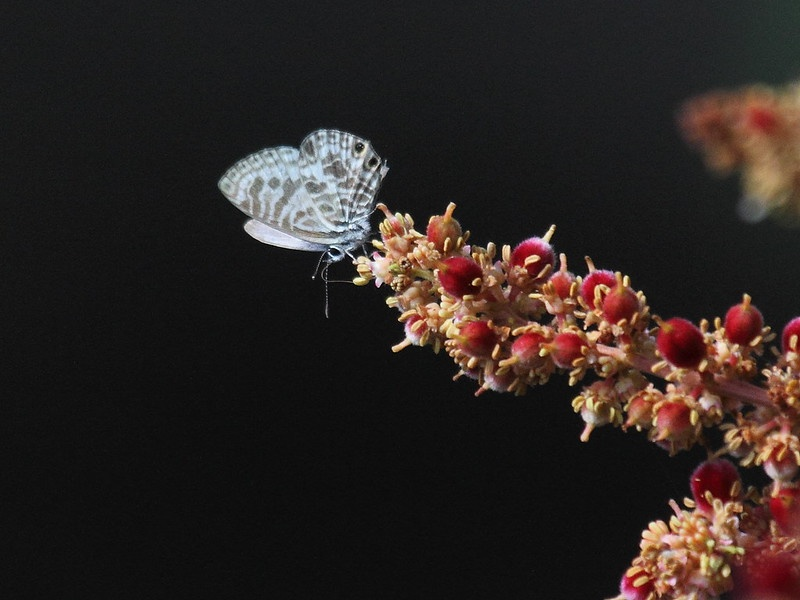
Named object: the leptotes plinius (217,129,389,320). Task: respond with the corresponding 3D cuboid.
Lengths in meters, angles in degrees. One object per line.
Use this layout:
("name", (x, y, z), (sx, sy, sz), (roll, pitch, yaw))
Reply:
("leptotes plinius", (-0.210, -0.262, 2.629), (0.390, 0.263, 0.328), (25, -81, -42))
